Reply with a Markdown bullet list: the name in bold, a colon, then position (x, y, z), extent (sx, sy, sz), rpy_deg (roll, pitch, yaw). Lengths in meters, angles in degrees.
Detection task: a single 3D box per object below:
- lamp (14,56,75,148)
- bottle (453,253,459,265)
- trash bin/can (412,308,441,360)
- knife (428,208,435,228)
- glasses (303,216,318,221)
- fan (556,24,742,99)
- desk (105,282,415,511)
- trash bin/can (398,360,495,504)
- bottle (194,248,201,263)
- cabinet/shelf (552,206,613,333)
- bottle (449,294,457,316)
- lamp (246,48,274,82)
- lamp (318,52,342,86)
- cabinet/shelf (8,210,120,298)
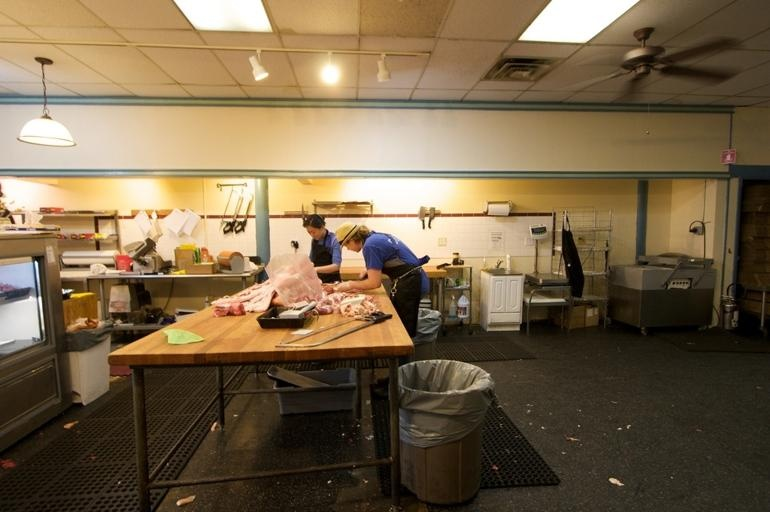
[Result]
- **lamp**: position (-4.256, -1.895, 6.840), extent (0.580, 1.025, 1.102), rpy_deg (-5, 5, -28)
- **bottle**: position (1.132, 0.040, 8.653), extent (0.132, 0.178, 0.323), rpy_deg (-2, 4, 7)
- **trash bin/can**: position (0.410, 0.971, 6.702), extent (0.528, 0.512, 0.527), rpy_deg (0, 2, -3)
- **knife**: position (0.748, -0.596, 8.686), extent (0.120, 0.334, 0.117), rpy_deg (-3, 5, -3)
- **glasses**: position (-0.948, -0.476, 6.887), extent (0.178, 0.062, 0.123), rpy_deg (-1, -1, -7)
- **fan**: position (3.254, -2.190, 6.139), extent (1.022, 0.282, 1.110), rpy_deg (-8, -9, 22)
- **desk**: position (-1.211, 0.995, 5.449), extent (2.061, 1.264, 2.576), rpy_deg (0, 2, -7)
- **trash bin/can**: position (0.537, 1.793, 5.814), extent (1.183, 1.245, 1.301), rpy_deg (0, -3, 15)
- **bottle**: position (-2.837, -0.001, 8.249), extent (0.046, 0.219, 0.129), rpy_deg (-1, 5, 23)
- **cabinet/shelf**: position (3.185, 0.199, 8.532), extent (0.982, 1.888, 1.009), rpy_deg (-2, 5, 8)
- **bottle**: position (1.077, 0.801, 8.673), extent (0.118, 0.301, 0.351), rpy_deg (-2, 4, 6)
- **lamp**: position (-1.527, -2.278, 6.629), extent (0.232, 0.368, 0.675), rpy_deg (-4, 4, -10)
- **lamp**: position (-0.683, -2.290, 6.788), extent (0.259, 0.318, 0.761), rpy_deg (-3, 4, -6)
- **cabinet/shelf**: position (-4.269, 0.000, 7.214), extent (1.472, 1.259, 0.448), rpy_deg (-1, -5, -8)
